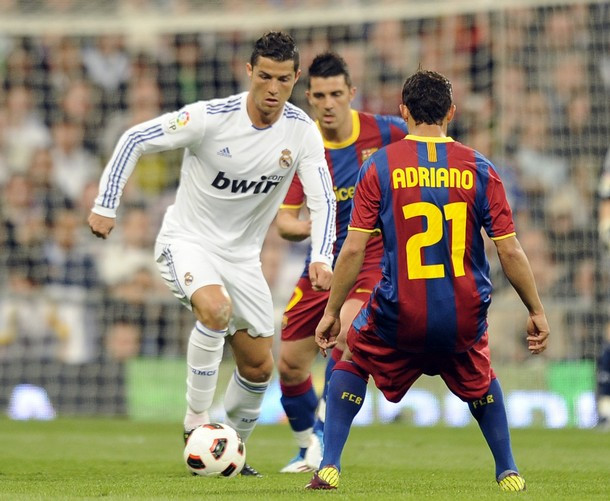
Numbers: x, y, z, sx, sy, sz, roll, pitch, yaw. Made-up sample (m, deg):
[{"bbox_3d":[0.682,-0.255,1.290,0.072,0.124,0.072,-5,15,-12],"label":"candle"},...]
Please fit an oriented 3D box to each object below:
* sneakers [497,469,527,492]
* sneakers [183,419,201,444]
[{"bbox_3d":[1.611,1.785,7.881,0.193,0.120,0.099,-10,42,11],"label":"sneakers"},{"bbox_3d":[-0.998,1.586,8.855,0.117,0.163,0.167,-1,7,9],"label":"sneakers"}]
